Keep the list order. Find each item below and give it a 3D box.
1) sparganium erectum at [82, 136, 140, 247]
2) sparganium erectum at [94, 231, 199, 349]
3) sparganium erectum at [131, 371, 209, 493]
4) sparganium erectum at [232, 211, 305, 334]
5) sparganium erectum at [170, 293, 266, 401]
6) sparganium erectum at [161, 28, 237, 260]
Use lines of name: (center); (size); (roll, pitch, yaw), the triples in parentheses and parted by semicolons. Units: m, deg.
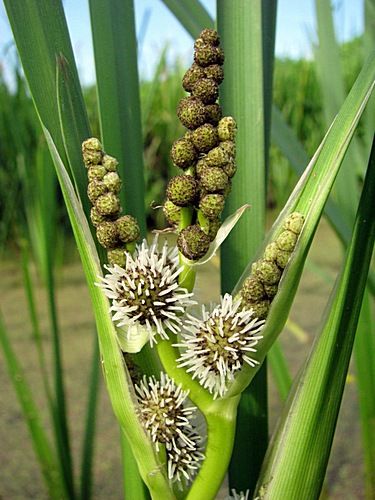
sparganium erectum: (-0.083, -0.051, 0.541); (0.041, 0.124, 0.040); (-23, -24, 34)
sparganium erectum: (-0.033, 0.049, 0.515); (0.076, 0.063, 0.077); (10, -20, 13)
sparganium erectum: (-0.015, 0.191, 0.557); (0.065, 0.134, 0.089); (-10, 27, -8)
sparganium erectum: (0.079, 0.017, 0.502); (0.038, 0.135, 0.039); (30, 5, 4)
sparganium erectum: (0.030, 0.088, 0.514); (0.086, 0.069, 0.095); (0, 4, 33)
sparganium erectum: (0.018, -0.110, 0.527); (0.071, 0.199, 0.174); (4, 28, 18)
